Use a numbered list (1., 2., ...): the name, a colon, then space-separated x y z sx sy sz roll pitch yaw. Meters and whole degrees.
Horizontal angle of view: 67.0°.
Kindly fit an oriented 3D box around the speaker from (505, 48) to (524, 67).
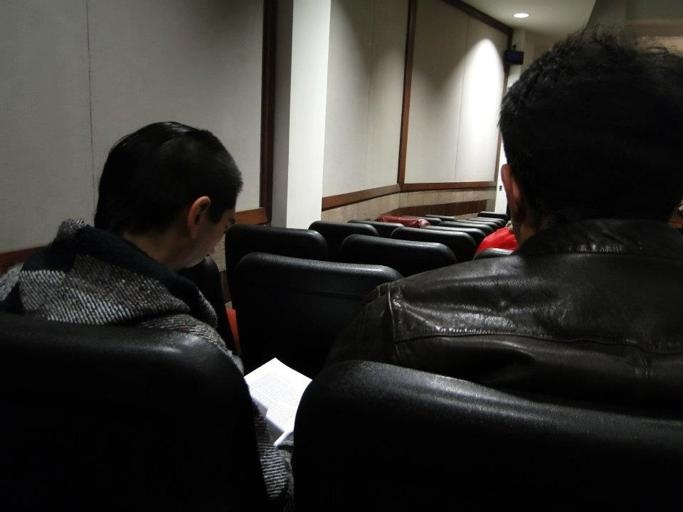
1. speaker: 3.320 -3.807 9.896 0.438 0.275 0.308 -1 13 -10
